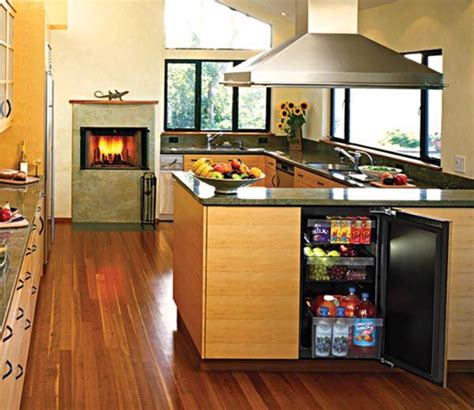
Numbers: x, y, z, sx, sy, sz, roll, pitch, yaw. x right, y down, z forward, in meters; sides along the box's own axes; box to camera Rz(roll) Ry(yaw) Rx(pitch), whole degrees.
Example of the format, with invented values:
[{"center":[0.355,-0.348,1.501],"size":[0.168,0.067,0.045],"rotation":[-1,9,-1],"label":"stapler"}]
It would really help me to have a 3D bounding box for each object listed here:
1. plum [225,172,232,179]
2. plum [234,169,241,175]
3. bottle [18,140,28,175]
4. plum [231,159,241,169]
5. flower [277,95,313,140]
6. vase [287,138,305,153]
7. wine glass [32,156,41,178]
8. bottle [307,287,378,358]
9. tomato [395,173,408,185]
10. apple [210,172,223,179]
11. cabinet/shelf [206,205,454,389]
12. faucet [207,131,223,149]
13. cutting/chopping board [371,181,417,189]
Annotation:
[{"center":[-0.049,-0.174,2.555],"size":[0.042,0.028,0.030],"rotation":[2,1,1],"label":"plum"},{"center":[0.009,-0.199,2.591],"size":[0.040,0.023,0.044],"rotation":[3,-4,-4],"label":"plum"},{"center":[-2.200,-0.484,4.436],"size":[0.090,0.350,0.205],"rotation":[-3,10,-24],"label":"bottle"},{"center":[0.005,-0.256,2.663],"size":[0.067,0.062,0.065],"rotation":[-4,10,-35],"label":"plum"},{"center":[1.037,-1.518,7.759],"size":[0.775,0.826,0.721],"rotation":[1,9,9],"label":"flower"},{"center":[1.056,-1.044,7.536],"size":[0.297,0.252,0.276],"rotation":[1,8,8],"label":"vase"},{"center":[-2.098,-0.397,4.544],"size":[0.079,0.193,0.060],"rotation":[-8,13,-43],"label":"wine glass"},{"center":[0.606,0.696,2.726],"size":[0.456,0.382,0.438],"rotation":[1,1,1],"label":"bottle"},{"center":[1.561,-0.239,4.118],"size":[0.138,0.127,0.138],"rotation":[-3,-5,23],"label":"tomato"},{"center":[-0.118,-0.176,2.551],"size":[0.078,0.041,0.103],"rotation":[0,8,-3],"label":"apple"},{"center":[0.611,0.474,2.504],"size":[0.874,0.785,0.912],"rotation":[0,4,7],"label":"cabinet/shelf"},{"center":[-0.385,-1.159,7.693],"size":[0.295,0.300,0.593],"rotation":[0,8,-3],"label":"faucet"},{"center":[1.510,-0.189,4.089],"size":[0.410,0.035,0.279],"rotation":[0,8,-6],"label":"cutting/chopping board"}]
